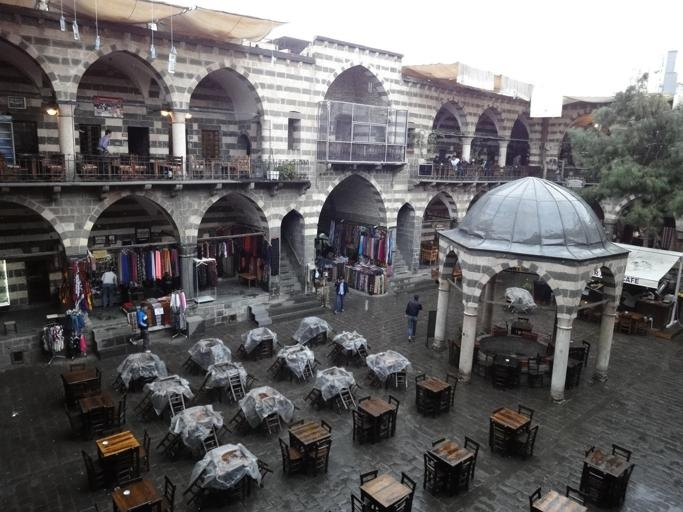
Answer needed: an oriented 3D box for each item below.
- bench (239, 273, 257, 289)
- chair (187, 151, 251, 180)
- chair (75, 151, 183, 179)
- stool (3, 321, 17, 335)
[{"bbox_3d":[-5.293,1.335,26.238,0.580,0.741,1.405,-11,11,-43],"label":"bench"},{"bbox_3d":[-6.055,-4.746,23.461,2.169,0.838,1.706,2,7,7],"label":"chair"},{"bbox_3d":[-9.627,-4.057,21.194,4.382,1.256,2.502,-8,10,-31],"label":"chair"},{"bbox_3d":[-13.833,3.021,19.433,0.524,0.538,0.525,-4,7,-30],"label":"stool"}]
